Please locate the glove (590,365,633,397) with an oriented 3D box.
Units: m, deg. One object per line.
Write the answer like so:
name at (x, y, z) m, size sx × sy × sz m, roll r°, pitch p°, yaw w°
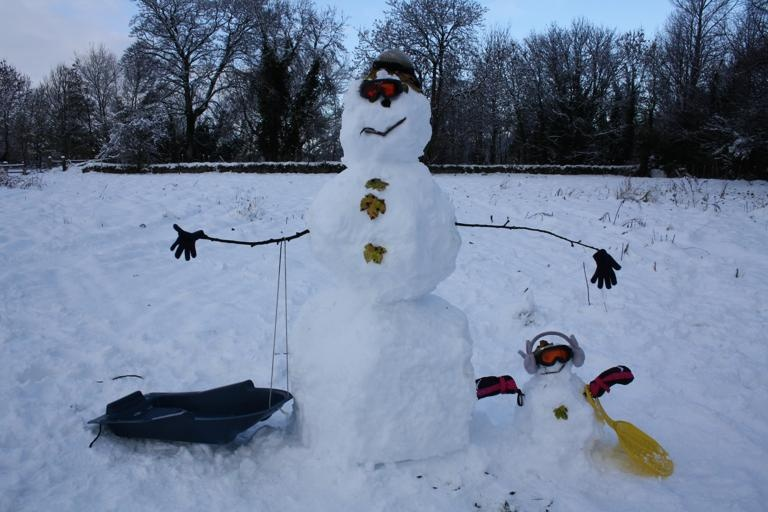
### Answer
glove at (4.073, 2.369, 11.199) m, size 0.805 × 0.306 × 0.454 m, roll -30°, pitch 57°, yaw -4°
